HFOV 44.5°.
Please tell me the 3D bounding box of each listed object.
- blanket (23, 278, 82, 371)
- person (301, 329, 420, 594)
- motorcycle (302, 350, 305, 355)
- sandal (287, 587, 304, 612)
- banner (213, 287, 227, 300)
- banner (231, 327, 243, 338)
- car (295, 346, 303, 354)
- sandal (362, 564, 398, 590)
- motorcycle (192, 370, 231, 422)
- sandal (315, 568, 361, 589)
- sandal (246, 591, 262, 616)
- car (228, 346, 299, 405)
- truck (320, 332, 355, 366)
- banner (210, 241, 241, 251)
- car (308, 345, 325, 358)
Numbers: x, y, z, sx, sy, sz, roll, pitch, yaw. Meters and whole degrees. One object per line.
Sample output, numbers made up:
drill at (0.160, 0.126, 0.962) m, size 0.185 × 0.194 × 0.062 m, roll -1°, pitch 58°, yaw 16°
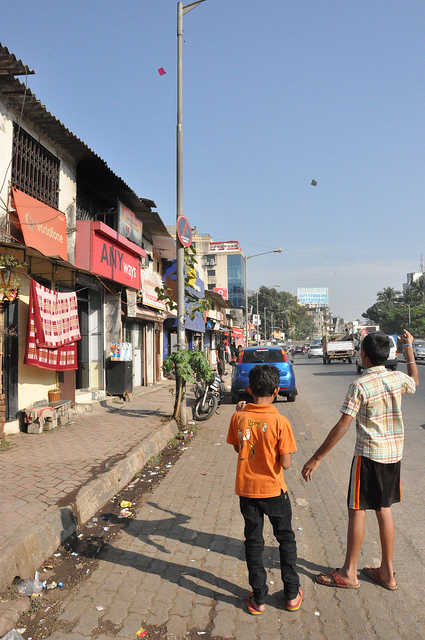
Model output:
blanket at (-2.712, 0.184, 8.983) m, size 0.297 × 1.445 × 1.614 m, roll 1°, pitch -3°, yaw 15°
person at (0.980, 0.859, 3.216) m, size 0.970 × 1.418 × 0.412 m, roll -2°, pitch -2°, yaw -31°
motorcycle at (13.915, 4.866, 79.290) m, size 0.337 × 0.502 × 1.883 m, roll -3°, pitch -2°, yaw 8°
sandal at (0.479, 1.577, 2.953) m, size 0.063 × 0.089 × 0.237 m, roll -4°, pitch -2°, yaw 23°
banner at (0.716, -2.391, 47.928) m, size 1.893 × 1.417 × 0.095 m, roll 0°, pitch -12°, yaw -34°
banner at (3.060, 1.566, 61.796) m, size 0.812 × 0.870 × 4.498 m, roll -4°, pitch -2°, yaw 9°
car at (12.947, 4.409, 77.937) m, size 0.930 × 0.851 × 1.622 m, roll 2°, pitch 9°, yaw 14°
sandal at (1.017, 1.587, 3.210) m, size 0.062 × 0.047 × 0.164 m, roll 10°, pitch 10°, yaw -29°
motorcycle at (-0.093, 1.573, 10.658) m, size 0.694 × 0.732 × 0.517 m, roll -3°, pitch -2°, yaw -16°
sandal at (0.770, 1.553, 3.167) m, size 0.188 × 0.071 × 0.107 m, roll 5°, pitch -6°, yaw 16°
sandal at (0.221, 1.569, 2.879) m, size 0.064 × 0.085 × 0.152 m, roll -3°, pitch -2°, yaw -15°
car at (1.264, 1.352, 13.278) m, size 1.200 × 1.066 × 2.164 m, roll 0°, pitch 2°, yaw 3°
truck at (9.449, 1.948, 38.713) m, size 1.823 × 2.314 × 3.906 m, roll 0°, pitch -1°, yaw 3°
banner at (2.011, -11.688, 82.292) m, size 4.347 × 1.064 × 1.297 m, roll -4°, pitch -2°, yaw 4°
car at (11.034, 3.402, 55.544) m, size 1.618 × 1.230 × 3.608 m, roll 0°, pitch 3°, yaw 10°
